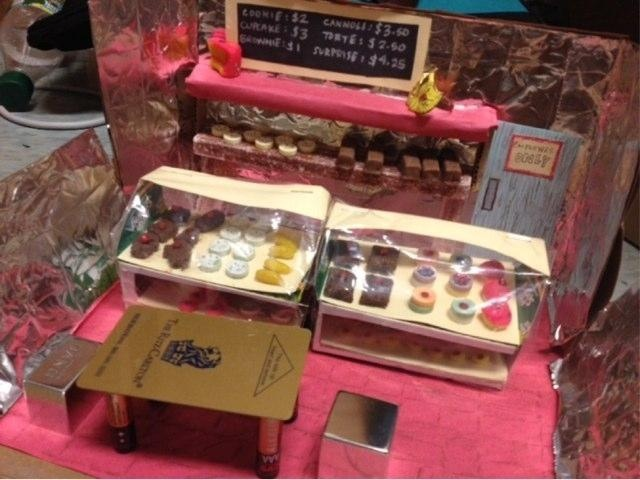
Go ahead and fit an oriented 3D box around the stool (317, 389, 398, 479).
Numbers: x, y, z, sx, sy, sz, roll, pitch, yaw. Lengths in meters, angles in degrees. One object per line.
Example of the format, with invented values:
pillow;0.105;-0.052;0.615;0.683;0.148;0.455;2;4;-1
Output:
stool;0.138;0.716;1.842;0.201;0.358;0.199;10;46;4

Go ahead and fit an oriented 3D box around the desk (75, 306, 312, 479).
desk;-0.428;0.704;2.079;1.006;0.477;0.539;8;48;6

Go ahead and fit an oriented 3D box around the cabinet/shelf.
cabinet/shelf;0.088;-0.642;2.370;1.447;0.176;0.229;10;36;9
